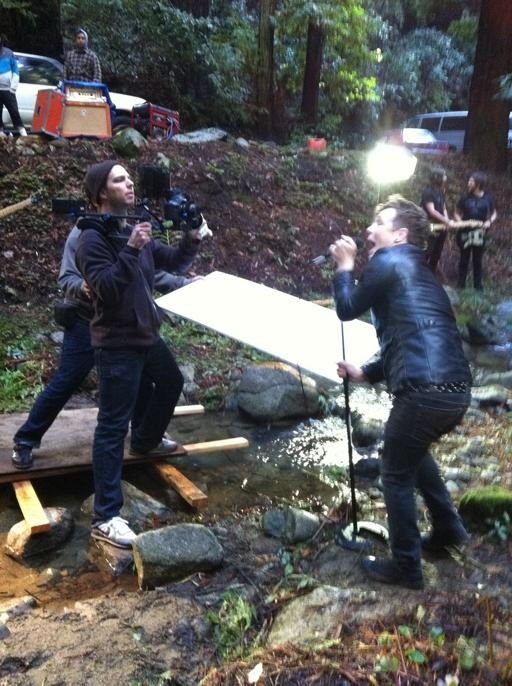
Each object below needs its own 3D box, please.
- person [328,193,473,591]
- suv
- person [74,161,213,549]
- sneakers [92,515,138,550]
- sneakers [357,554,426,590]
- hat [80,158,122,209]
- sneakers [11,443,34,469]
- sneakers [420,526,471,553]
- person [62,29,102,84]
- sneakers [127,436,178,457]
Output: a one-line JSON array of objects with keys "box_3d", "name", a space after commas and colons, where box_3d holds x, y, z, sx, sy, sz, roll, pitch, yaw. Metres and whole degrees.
[{"box_3d": [0.744, 0.212, 3.371, 0.654, 1.919, 0.622, -2, 8, -1], "name": "person"}, {"box_3d": [-2.603, -3.856, 10.243, 2.349, 1.306, 1.216, -9, 27, -15], "name": "suv"}, {"box_3d": [-0.686, 0.022, 3.765, 0.630, 2.057, 1.103, -1, 8, 9], "name": "person"}, {"box_3d": [-0.744, 1.023, 3.625, 0.277, 0.125, 0.131, 9, -2, 27], "name": "sneakers"}, {"box_3d": [0.654, 1.123, 3.280, 0.289, 0.195, 0.115, 17, 34, 37], "name": "sneakers"}, {"box_3d": [-0.890, -0.876, 3.654, 0.186, 0.237, 0.232, -12, 16, -44], "name": "hat"}, {"box_3d": [-1.397, 0.683, 4.004, 0.120, 0.142, 0.110, -6, 9, -25], "name": "sneakers"}, {"box_3d": [0.991, 1.047, 3.535, 0.150, 0.086, 0.239, -5, -15, -7], "name": "sneakers"}, {"box_3d": [-2.344, -3.824, 9.032, 0.544, 0.822, 0.364, 9, 48, -5], "name": "person"}, {"box_3d": [-0.708, 0.715, 4.555, 0.331, 0.137, 0.118, -7, 26, -29], "name": "sneakers"}]
